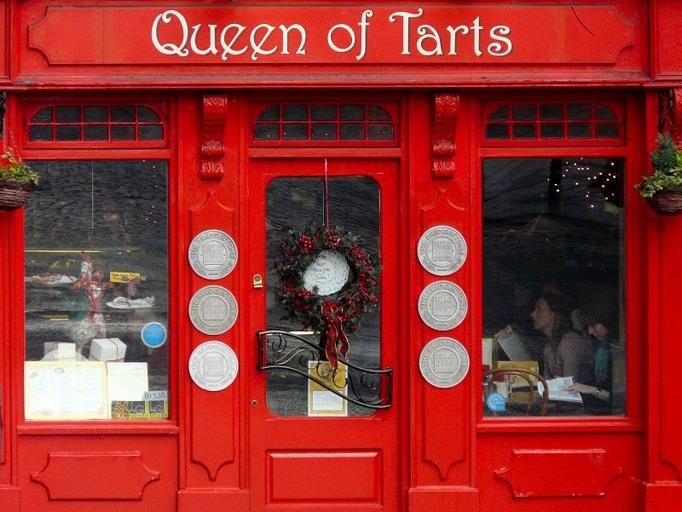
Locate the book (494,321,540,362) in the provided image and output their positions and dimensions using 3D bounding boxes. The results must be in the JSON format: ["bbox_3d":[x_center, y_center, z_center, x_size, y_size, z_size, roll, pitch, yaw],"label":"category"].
[{"bbox_3d":[1.657,0.799,14.383,0.395,0.344,0.069,-1,-4,1],"label":"book"}]
